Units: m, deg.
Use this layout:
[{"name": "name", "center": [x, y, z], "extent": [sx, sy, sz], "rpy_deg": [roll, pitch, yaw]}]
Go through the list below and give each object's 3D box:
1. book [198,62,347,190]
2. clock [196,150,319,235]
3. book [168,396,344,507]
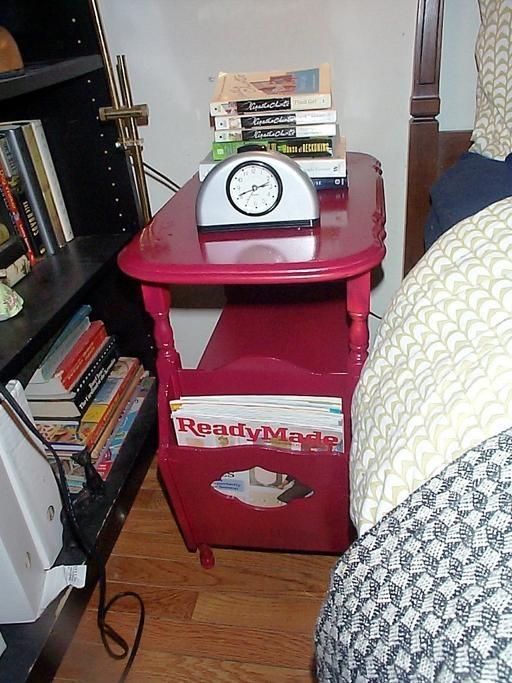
[{"name": "book", "center": [0.036, -0.370, 0.994], "extent": [0.232, 0.143, 0.231], "rpy_deg": [-2, 46, 2]}, {"name": "clock", "center": [0.001, -0.243, 0.860], "extent": [0.194, 0.124, 0.063], "rpy_deg": [-1, 19, 4]}, {"name": "book", "center": [0.008, 0.172, 0.886], "extent": [0.188, 0.171, 0.066], "rpy_deg": [3, 42, 6]}]
